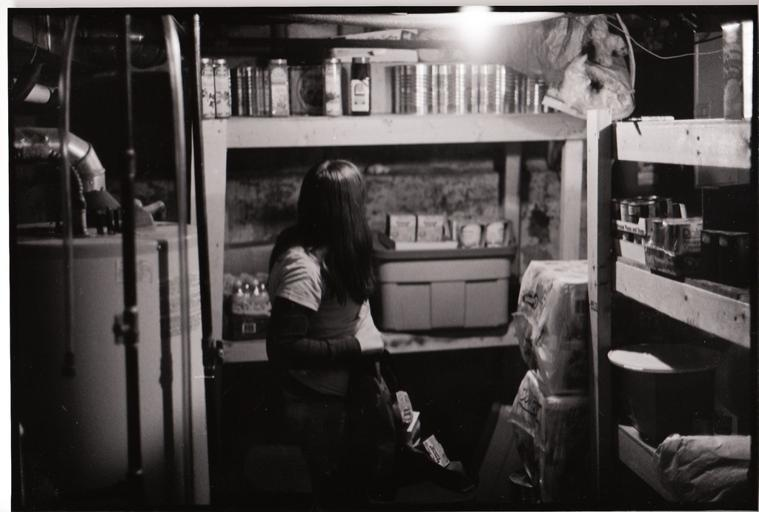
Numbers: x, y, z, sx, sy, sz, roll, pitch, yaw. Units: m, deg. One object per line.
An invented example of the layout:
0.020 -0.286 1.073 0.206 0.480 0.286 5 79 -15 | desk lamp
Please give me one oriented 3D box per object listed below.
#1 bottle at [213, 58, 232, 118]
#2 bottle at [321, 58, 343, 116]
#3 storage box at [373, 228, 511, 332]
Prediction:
-0.619 -0.655 2.631 0.067 0.223 0.016 0 5 10 | bottle
-0.188 -0.669 2.668 0.091 0.221 0.088 0 13 0 | bottle
0.247 0.092 2.631 0.486 0.266 0.367 0 1 -3 | storage box
